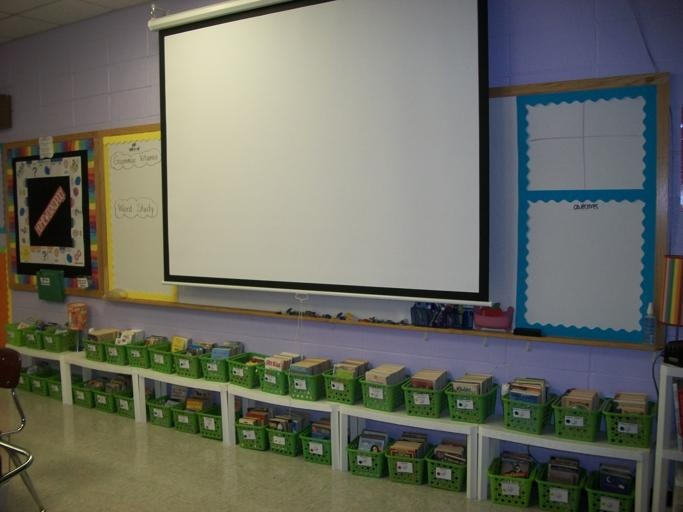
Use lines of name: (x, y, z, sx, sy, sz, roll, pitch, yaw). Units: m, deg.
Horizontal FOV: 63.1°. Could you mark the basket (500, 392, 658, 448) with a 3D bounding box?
basket: (1.601, 1.045, 3.711, 0.915, 0.272, 0.294, 2, 4, 20)
